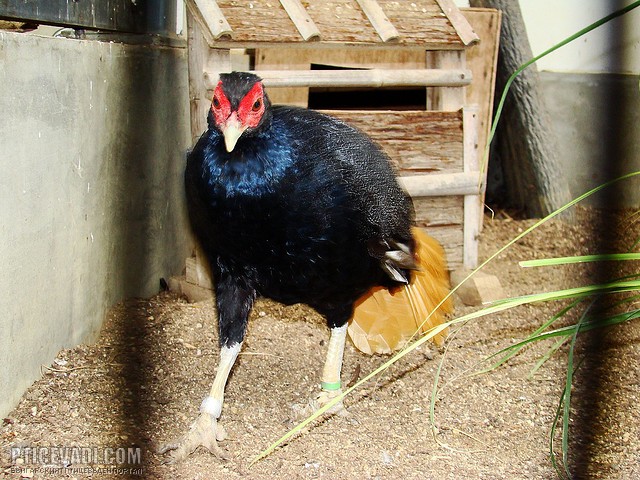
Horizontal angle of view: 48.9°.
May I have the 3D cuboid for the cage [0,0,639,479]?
[{"bbox_3d":[-0.309,0.230,5.278,3.062,3.552,3.135,1,-1,-18],"label":"cage"}]
